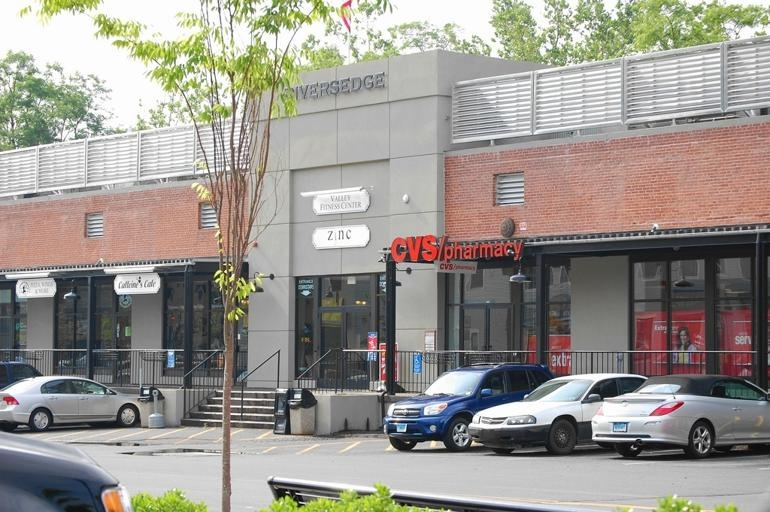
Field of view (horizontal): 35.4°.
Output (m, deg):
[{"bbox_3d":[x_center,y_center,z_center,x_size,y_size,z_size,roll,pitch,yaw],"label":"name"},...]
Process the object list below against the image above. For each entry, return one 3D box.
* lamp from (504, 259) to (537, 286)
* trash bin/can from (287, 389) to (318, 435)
[{"bbox_3d":[4.624,0.641,40.773,0.885,0.928,0.938,1,-10,-4],"label":"lamp"},{"bbox_3d":[-2.533,4.926,38.506,0.860,1.395,0.511,1,-8,-4],"label":"trash bin/can"}]
